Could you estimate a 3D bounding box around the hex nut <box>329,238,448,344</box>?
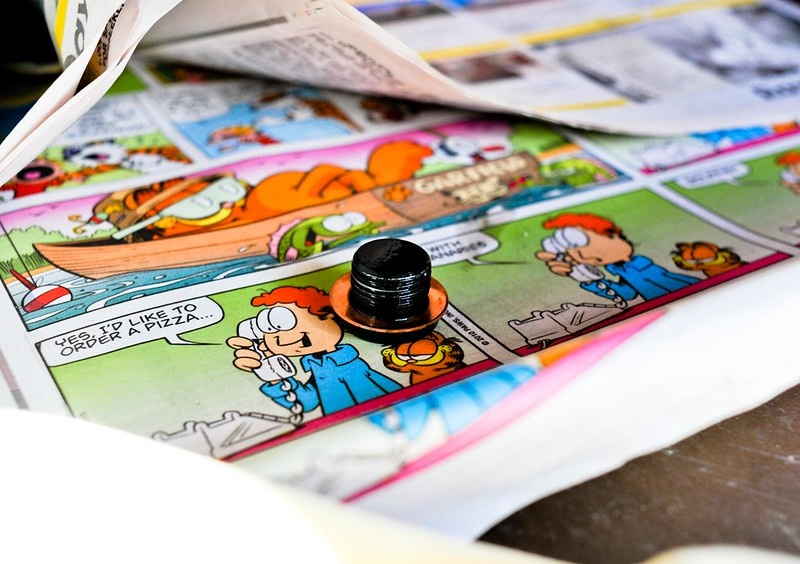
[{"bbox_3d":[-0.008,0.013,0.529,0.118,0.045,0.083,1,37,-2],"label":"hex nut"}]
